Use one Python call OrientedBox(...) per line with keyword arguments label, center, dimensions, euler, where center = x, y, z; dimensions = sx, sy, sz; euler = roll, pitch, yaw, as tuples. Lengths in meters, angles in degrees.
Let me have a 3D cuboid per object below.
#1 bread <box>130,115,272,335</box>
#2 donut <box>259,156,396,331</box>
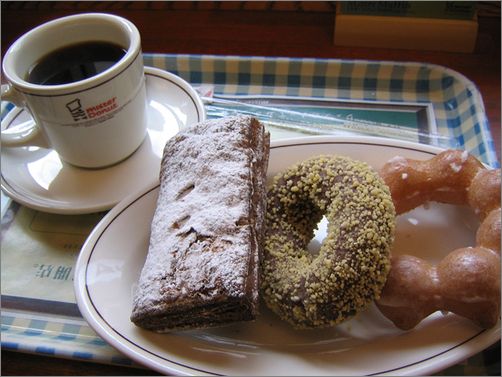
OrientedBox(label="bread", center=(-0.061, 0.052, 0.840), dimensions=(0.237, 0.110, 0.404), euler=(-9, 58, 28))
OrientedBox(label="donut", center=(0.155, 0.079, 0.877), dimensions=(0.278, 0.115, 0.314), euler=(-27, 48, 23))
